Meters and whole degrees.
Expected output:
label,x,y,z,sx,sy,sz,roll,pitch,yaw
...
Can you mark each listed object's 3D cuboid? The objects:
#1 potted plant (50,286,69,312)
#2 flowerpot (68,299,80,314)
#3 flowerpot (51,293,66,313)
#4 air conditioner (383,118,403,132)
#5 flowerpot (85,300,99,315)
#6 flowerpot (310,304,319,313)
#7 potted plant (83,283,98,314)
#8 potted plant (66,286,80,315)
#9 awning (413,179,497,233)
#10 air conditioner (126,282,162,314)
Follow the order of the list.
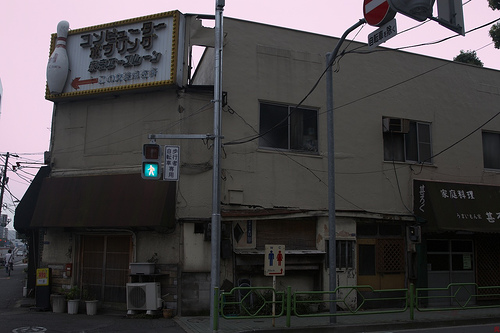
label,x,y,z,sx,sy,sz,roll,pitch,yaw
potted plant,-8.184,5.808,25.616,0.905,1.055,0.831,2,-11,-13
flowerpot,-7.564,5.999,25.189,0.456,0.605,0.566,-3,-7,28
flowerpot,-8.186,5.943,25.482,0.761,0.829,0.649,1,-12,-12
air conditioner,6.761,-1.949,27.968,1.058,0.772,0.550,1,-5,-16
flowerpot,-6.760,6.053,25.093,0.487,0.577,0.385,7,-16,-27
flowerpot,2.742,6.199,25.600,0.407,0.338,0.335,5,-8,-37
potted plant,-6.904,5.694,25.362,0.611,1.330,0.698,4,-15,-16
potted plant,-7.639,5.767,25.228,0.518,1.207,0.788,4,-15,-16
awning,9.794,1.878,28.004,4.263,2.484,0.745,3,-15,-13
air conditioner,-4.425,5.482,24.526,1.391,1.256,0.939,-5,-7,18
